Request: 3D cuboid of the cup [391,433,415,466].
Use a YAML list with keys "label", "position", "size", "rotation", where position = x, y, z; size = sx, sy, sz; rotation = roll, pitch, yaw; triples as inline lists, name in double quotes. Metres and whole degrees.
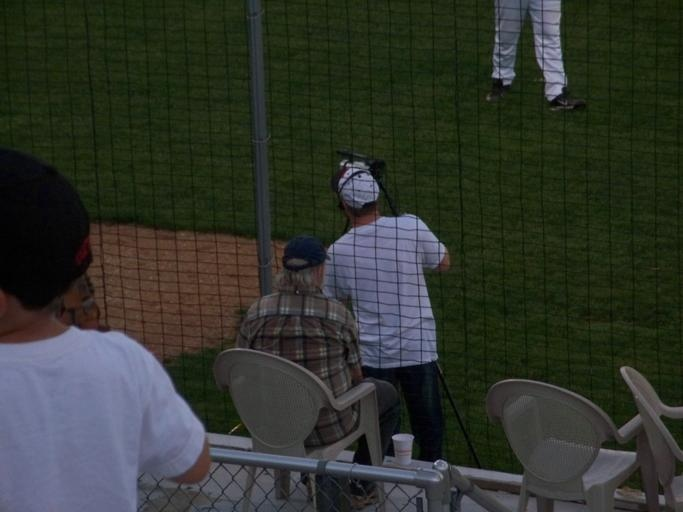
- label: "cup"
  position: [0.465, 1.469, 10.664]
  size: [0.207, 0.198, 0.206]
  rotation: [-2, -6, 0]
